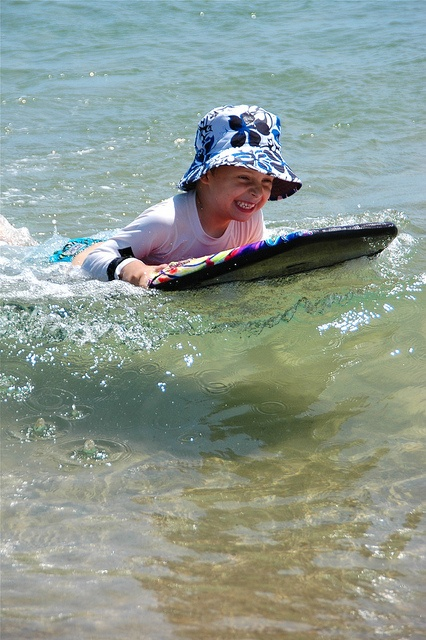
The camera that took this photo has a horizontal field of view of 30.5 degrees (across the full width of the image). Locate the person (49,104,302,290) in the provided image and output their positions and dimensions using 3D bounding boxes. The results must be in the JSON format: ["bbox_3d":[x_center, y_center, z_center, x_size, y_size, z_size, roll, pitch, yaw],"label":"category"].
[{"bbox_3d":[-0.284,-0.681,4.753,0.967,0.931,2.456,8,3,-28],"label":"person"}]

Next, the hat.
[{"bbox_3d":[0.139,-0.856,4.040,0.546,0.294,0.539,1,4,-23],"label":"hat"}]
